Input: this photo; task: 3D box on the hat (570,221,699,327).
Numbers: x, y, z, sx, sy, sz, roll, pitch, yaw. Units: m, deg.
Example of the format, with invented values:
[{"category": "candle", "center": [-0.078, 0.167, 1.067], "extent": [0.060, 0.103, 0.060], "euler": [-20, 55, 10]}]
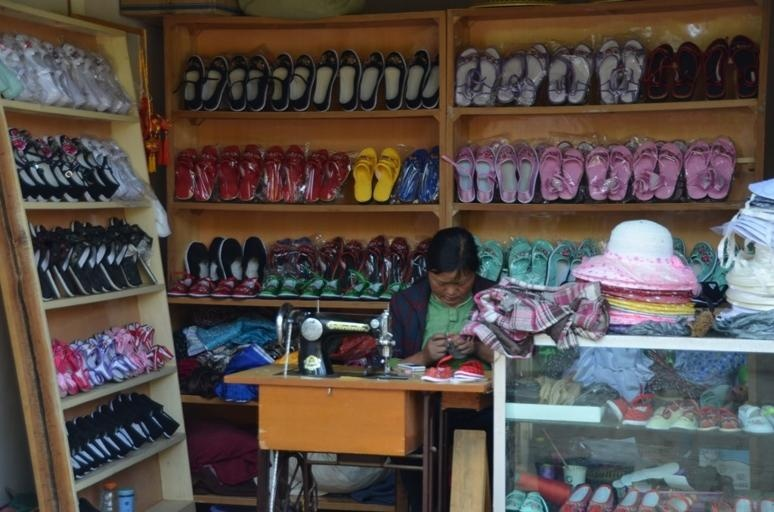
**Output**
[{"category": "hat", "center": [1.124, 0.027, 3.201], "extent": [0.439, 0.394, 0.495], "euler": [-6, 11, -22]}]

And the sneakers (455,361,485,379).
[{"category": "sneakers", "center": [0.411, 0.556, 3.343], "extent": [0.150, 0.062, 0.186], "euler": [-1, 7, 8]}]

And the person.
[{"category": "person", "center": [0.304, 0.233, 3.906], "extent": [0.752, 1.248, 0.704], "euler": [0, 1, 4]}]

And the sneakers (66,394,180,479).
[{"category": "sneakers", "center": [-1.645, 1.036, 4.094], "extent": [0.244, 0.302, 0.697], "euler": [3, 9, 33]}]

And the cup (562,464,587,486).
[{"category": "cup", "center": [0.874, 1.008, 3.148], "extent": [0.085, 0.098, 0.108], "euler": [0, -7, -1]}]

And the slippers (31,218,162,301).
[{"category": "slippers", "center": [-1.765, -0.002, 4.070], "extent": [0.231, 0.431, 0.766], "euler": [2, 9, 28]}]
